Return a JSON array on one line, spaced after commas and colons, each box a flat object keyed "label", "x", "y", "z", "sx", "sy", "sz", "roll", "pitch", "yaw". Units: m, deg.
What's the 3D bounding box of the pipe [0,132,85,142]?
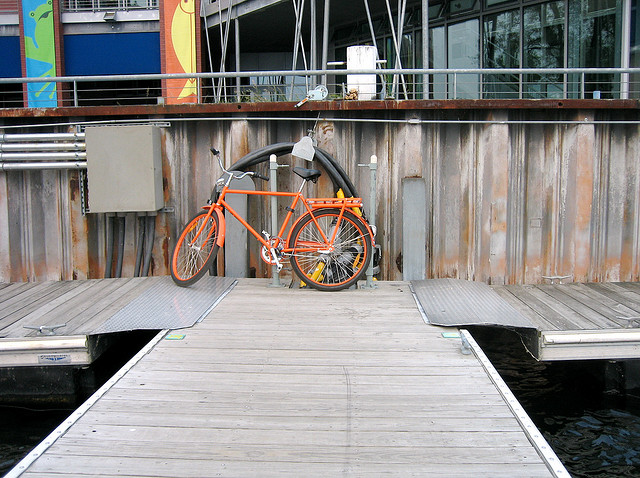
[{"label": "pipe", "x": -3.564, "y": -1.282, "z": 10.650, "sx": 1.138, "sy": 0.108, "sz": 0.198, "roll": -1, "pitch": 9, "yaw": 3}]

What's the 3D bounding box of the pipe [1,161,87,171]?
[{"label": "pipe", "x": -3.536, "y": -0.917, "z": 10.633, "sx": 1.132, "sy": 0.109, "sz": 0.127, "roll": 0, "pitch": 10, "yaw": 9}]

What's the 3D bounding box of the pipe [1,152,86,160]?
[{"label": "pipe", "x": -3.596, "y": -1.036, "z": 10.625, "sx": 0.967, "sy": 0.096, "sz": 0.080, "roll": 0, "pitch": 10, "yaw": 8}]

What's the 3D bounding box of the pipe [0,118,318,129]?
[{"label": "pipe", "x": -2.058, "y": -1.465, "z": 10.558, "sx": 4.068, "sy": 0.081, "sz": 0.203, "roll": 0, "pitch": 9, "yaw": 6}]
